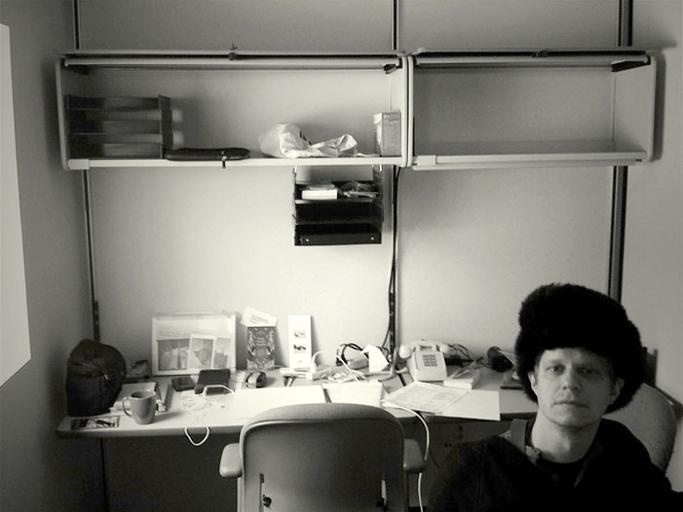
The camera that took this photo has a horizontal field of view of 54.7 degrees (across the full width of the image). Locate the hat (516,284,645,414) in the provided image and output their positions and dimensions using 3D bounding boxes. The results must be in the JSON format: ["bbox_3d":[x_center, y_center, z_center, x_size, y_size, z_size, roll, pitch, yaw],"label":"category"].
[{"bbox_3d":[0.643,0.230,1.785,0.309,0.184,0.377,4,-5,15],"label":"hat"}]

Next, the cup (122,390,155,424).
[{"bbox_3d":[-0.806,0.605,2.652,0.099,0.115,0.154,-3,3,-35],"label":"cup"}]

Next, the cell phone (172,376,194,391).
[{"bbox_3d":[-0.704,0.561,2.914,0.066,0.064,0.066,-1,5,-9],"label":"cell phone"}]

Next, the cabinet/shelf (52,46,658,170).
[{"bbox_3d":[0.075,-0.604,2.826,2.534,0.420,0.462,-3,1,-2],"label":"cabinet/shelf"}]

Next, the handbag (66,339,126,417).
[{"bbox_3d":[-1.038,0.505,2.783,0.212,0.301,0.270,-3,1,-7],"label":"handbag"}]
